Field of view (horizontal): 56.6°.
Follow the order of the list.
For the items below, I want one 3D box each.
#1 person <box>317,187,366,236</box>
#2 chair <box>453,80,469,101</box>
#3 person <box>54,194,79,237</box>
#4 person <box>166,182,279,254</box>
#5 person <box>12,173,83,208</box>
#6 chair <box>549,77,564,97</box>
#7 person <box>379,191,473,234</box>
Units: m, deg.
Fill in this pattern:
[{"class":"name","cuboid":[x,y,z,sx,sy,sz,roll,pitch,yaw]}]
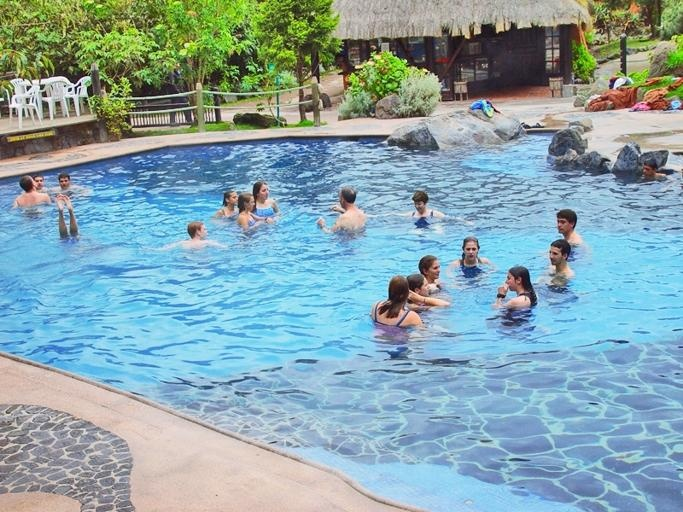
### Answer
[{"class":"person","cuboid":[0.005,-0.853,12.365,0.720,1.076,0.648,-30,52,-28]},{"class":"chair","cuboid":[5.103,-7.106,27.243,0.490,0.711,0.803,-4,11,4]},{"class":"person","cuboid":[-5.365,-0.743,12.376,0.293,0.933,0.262,-2,-31,-32]},{"class":"person","cuboid":[-2.336,-0.644,11.774,1.349,0.574,1.610,3,19,18]},{"class":"person","cuboid":[-6.835,-1.447,14.791,1.241,0.699,1.656,2,8,19]},{"class":"chair","cuboid":[9.059,-7.126,26.734,0.529,0.800,0.776,-1,12,18]},{"class":"person","cuboid":[1.570,-0.823,11.972,2.100,0.671,0.485,2,4,37]}]
